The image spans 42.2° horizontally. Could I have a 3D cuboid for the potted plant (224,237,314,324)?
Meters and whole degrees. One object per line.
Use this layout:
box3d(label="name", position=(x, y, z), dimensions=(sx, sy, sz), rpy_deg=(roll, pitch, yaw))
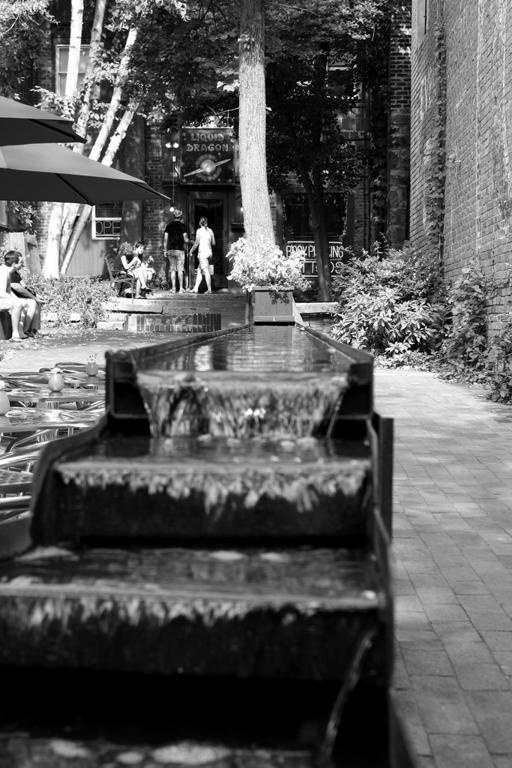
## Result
box3d(label="potted plant", position=(0.342, -2.224, 12.697), dimensions=(1.023, 1.774, 1.498), rpy_deg=(5, 34, 15))
